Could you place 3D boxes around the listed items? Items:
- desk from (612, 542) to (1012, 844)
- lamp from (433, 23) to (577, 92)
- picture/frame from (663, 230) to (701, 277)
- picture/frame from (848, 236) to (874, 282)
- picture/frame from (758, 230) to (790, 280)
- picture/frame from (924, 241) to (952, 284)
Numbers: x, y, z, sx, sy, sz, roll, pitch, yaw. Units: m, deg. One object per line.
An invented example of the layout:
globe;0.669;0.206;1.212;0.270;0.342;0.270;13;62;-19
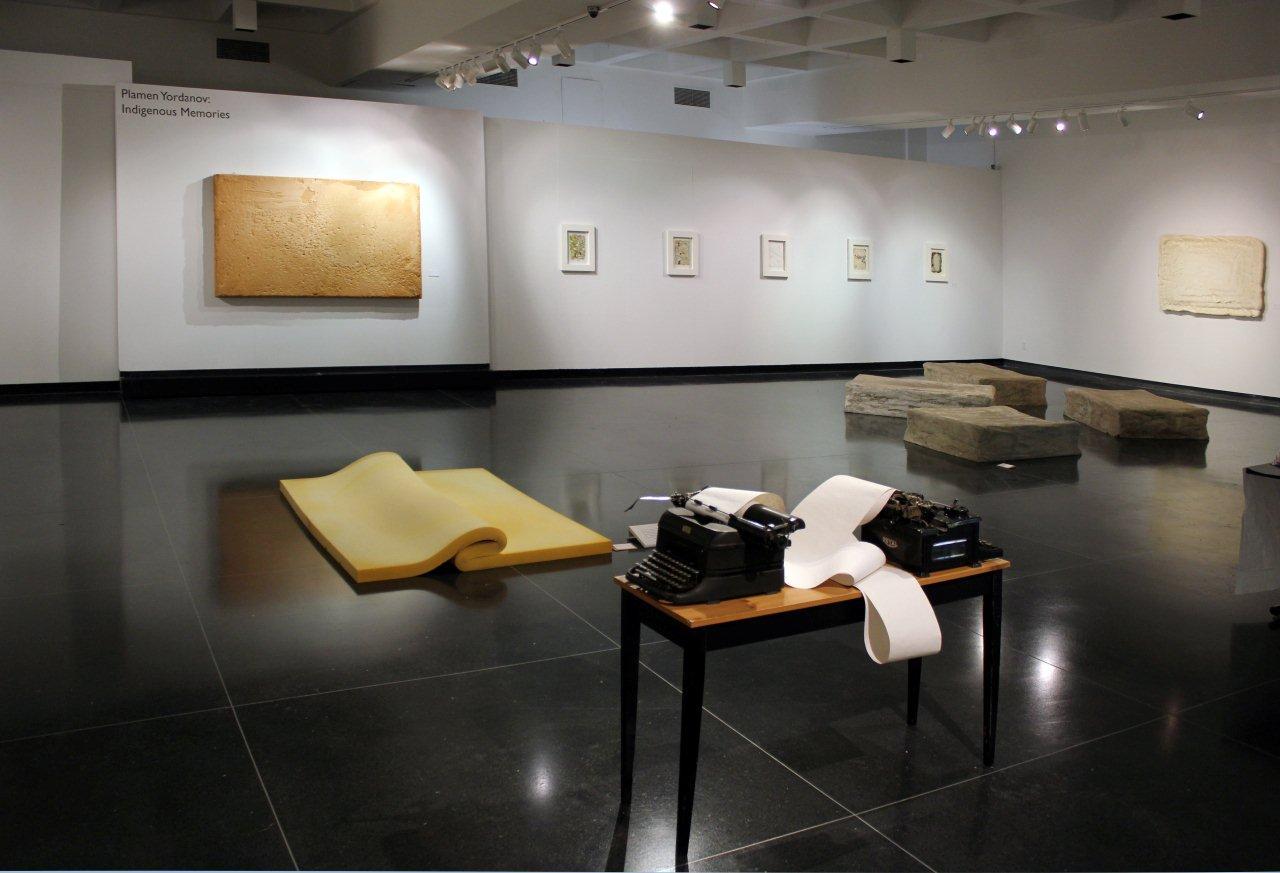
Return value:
desk;0.606;0.893;3.737;1.753;0.908;1.305;-5;10;-20
lamp;-2.085;-5.570;12.154;0.602;0.465;2.027;-28;23;-36
picture/frame;0.736;-3.468;15.672;0.930;1.006;0.105;-1;3;-26
picture/frame;4.564;-3.720;17.352;0.980;1.235;0.107;-2;4;-32
picture/frame;2.654;-3.573;16.519;0.702;0.886;0.154;-7;11;-28
picture/frame;6.510;-3.805;18.224;0.617;0.817;0.101;-5;10;-20
